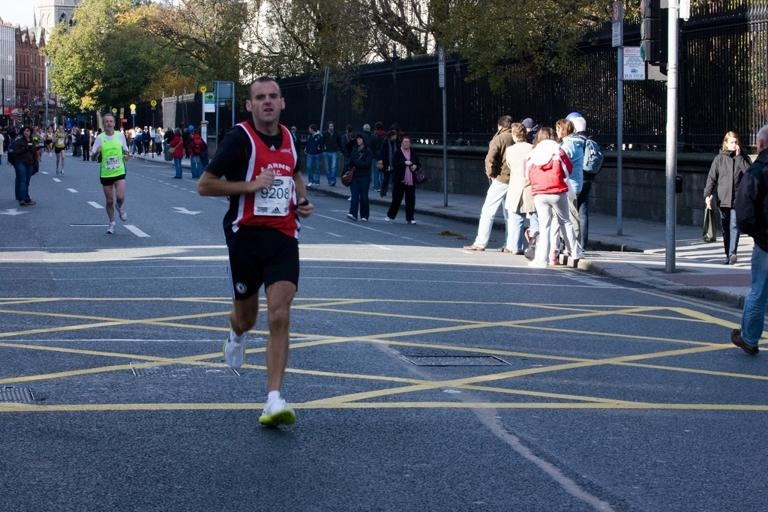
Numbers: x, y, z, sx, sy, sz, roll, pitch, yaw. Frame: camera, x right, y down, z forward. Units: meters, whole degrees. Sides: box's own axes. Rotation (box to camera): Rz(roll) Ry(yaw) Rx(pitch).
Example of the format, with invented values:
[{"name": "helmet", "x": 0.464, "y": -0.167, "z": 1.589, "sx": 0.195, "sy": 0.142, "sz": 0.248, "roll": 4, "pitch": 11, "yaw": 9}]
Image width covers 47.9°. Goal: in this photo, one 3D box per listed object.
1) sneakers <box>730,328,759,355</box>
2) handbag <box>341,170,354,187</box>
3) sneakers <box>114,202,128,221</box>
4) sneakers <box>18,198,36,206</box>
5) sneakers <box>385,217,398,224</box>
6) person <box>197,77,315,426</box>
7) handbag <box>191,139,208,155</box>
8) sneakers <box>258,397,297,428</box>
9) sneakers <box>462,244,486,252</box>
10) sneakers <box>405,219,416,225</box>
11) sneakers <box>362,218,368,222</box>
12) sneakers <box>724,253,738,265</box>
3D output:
[{"name": "sneakers", "x": 3.796, "y": 0.889, "z": 9.096, "sx": 0.282, "sy": 0.244, "sz": 0.247, "roll": 8, "pitch": 10, "yaw": 44}, {"name": "handbag", "x": -0.881, "y": -1.786, "z": 20.233, "sx": 0.258, "sy": 0.135, "sz": 0.357, "roll": 3, "pitch": -41, "yaw": -14}, {"name": "sneakers", "x": -6.306, "y": -1.066, "z": 20.652, "sx": 0.152, "sy": 0.457, "sz": 0.191, "roll": -24, "pitch": -13, "yaw": -12}, {"name": "sneakers", "x": -10.024, "y": -1.510, "z": 24.225, "sx": 0.557, "sy": 0.246, "sz": 0.188, "roll": -3, "pitch": -7, "yaw": -6}, {"name": "sneakers", "x": 0.177, "y": -0.938, "z": 22.318, "sx": 0.168, "sy": 0.202, "sz": 0.469, "roll": 3, "pitch": 2, "yaw": -8}, {"name": "person", "x": -0.987, "y": -0.076, "z": 6.832, "sx": 0.876, "sy": 2.663, "sz": 0.832, "roll": 3, "pitch": 7, "yaw": 16}, {"name": "handbag", "x": -8.069, "y": -4.768, "z": 37.769, "sx": 0.500, "sy": 0.683, "sz": 0.675, "roll": 3, "pitch": -3, "yaw": -11}, {"name": "sneakers", "x": -0.811, "y": 1.191, "z": 6.565, "sx": 0.276, "sy": 0.257, "sz": 0.196, "roll": 0, "pitch": 7, "yaw": -8}, {"name": "sneakers", "x": 1.762, "y": -0.159, "z": 16.948, "sx": 0.265, "sy": 0.110, "sz": 0.158, "roll": 9, "pitch": -2, "yaw": 4}, {"name": "sneakers", "x": 0.675, "y": -0.875, "z": 21.726, "sx": 0.252, "sy": 0.109, "sz": 0.098, "roll": -5, "pitch": 13, "yaw": 12}, {"name": "sneakers", "x": -0.500, "y": -0.952, "z": 22.334, "sx": 0.063, "sy": 0.077, "sz": 0.183, "roll": 2, "pitch": 8, "yaw": -12}, {"name": "sneakers", "x": 5.925, "y": 0.075, "z": 14.762, "sx": 0.110, "sy": 0.127, "sz": 0.310, "roll": 6, "pitch": -31, "yaw": -2}]
